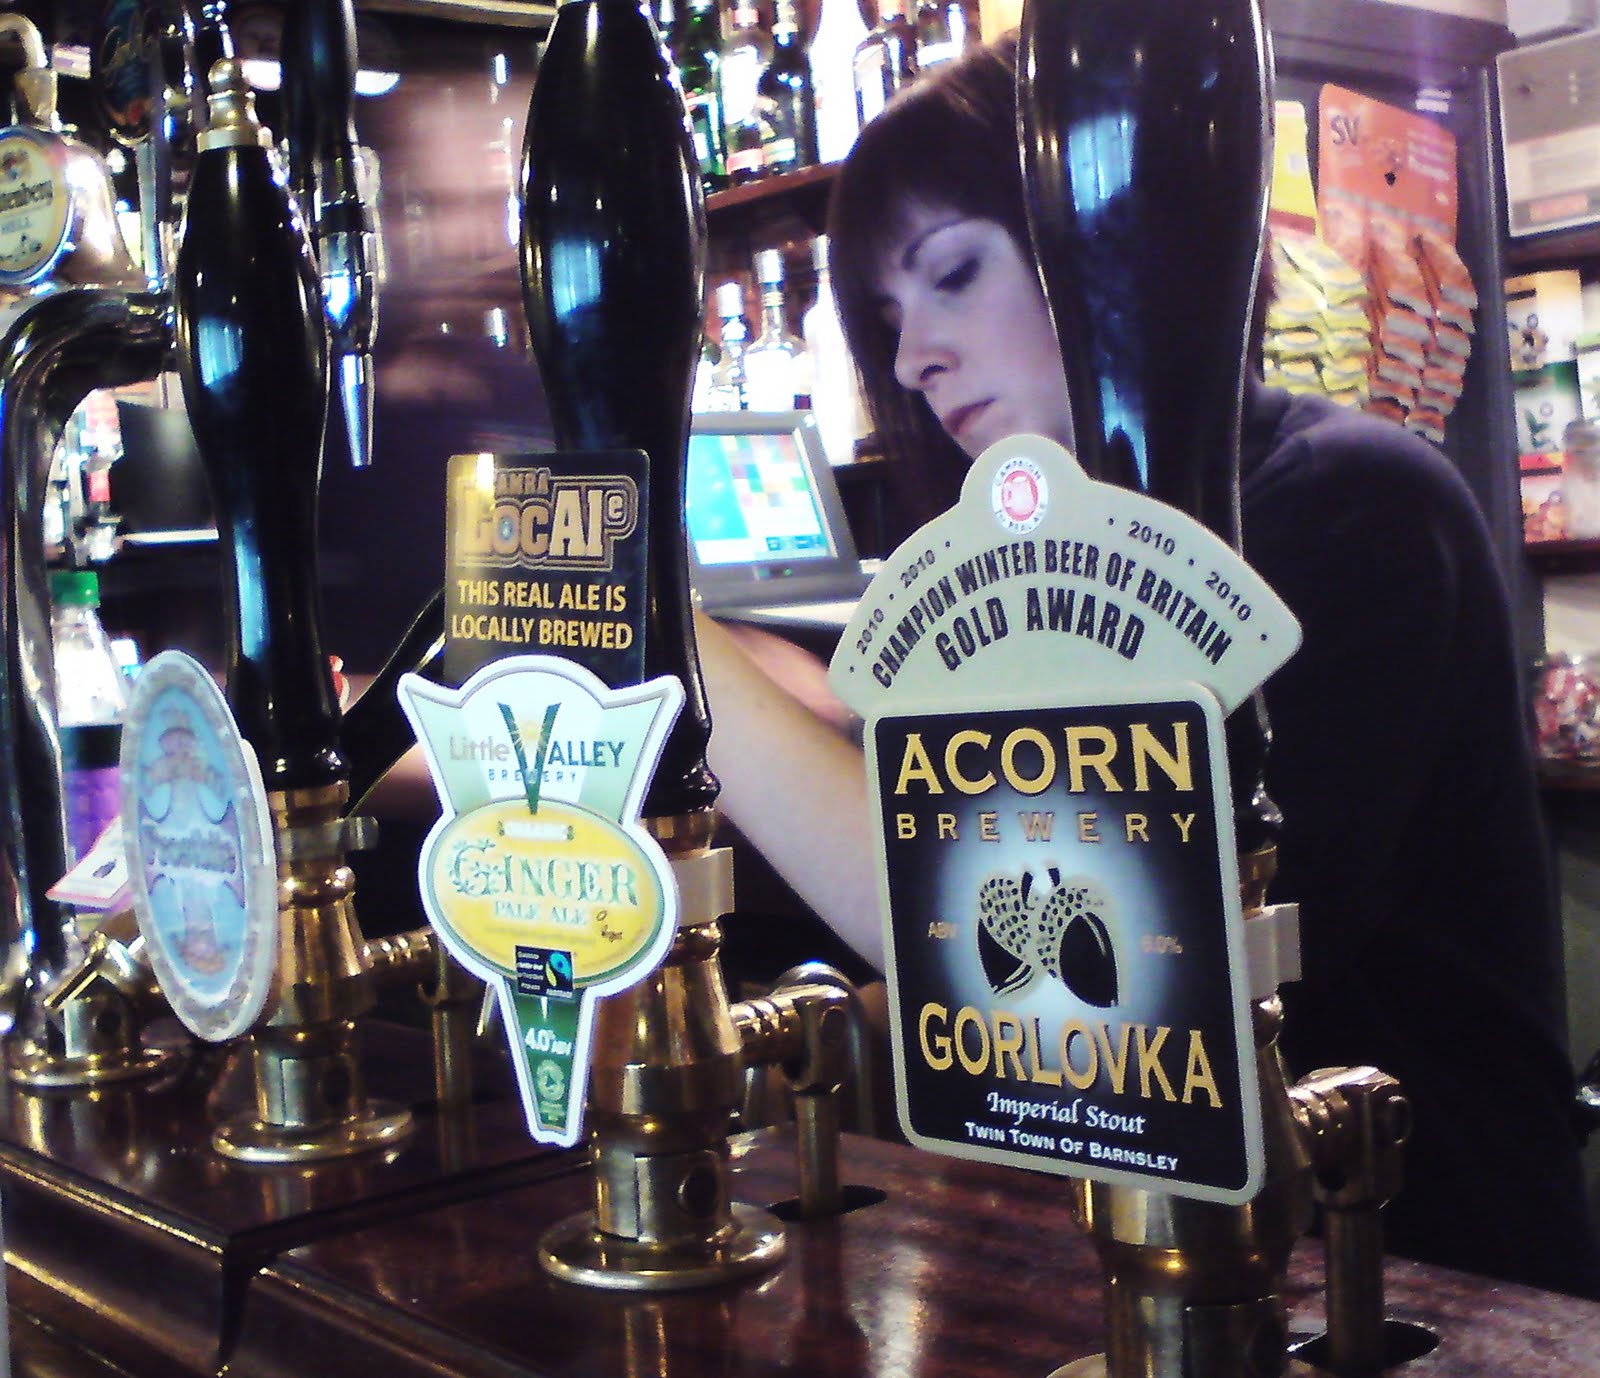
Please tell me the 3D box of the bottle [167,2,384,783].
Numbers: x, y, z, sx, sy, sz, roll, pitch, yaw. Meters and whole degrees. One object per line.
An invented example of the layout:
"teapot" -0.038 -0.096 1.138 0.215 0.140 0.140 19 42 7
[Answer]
"bottle" -0.277 -0.170 0.860 0.096 0.404 0.233 -3 1 -15
